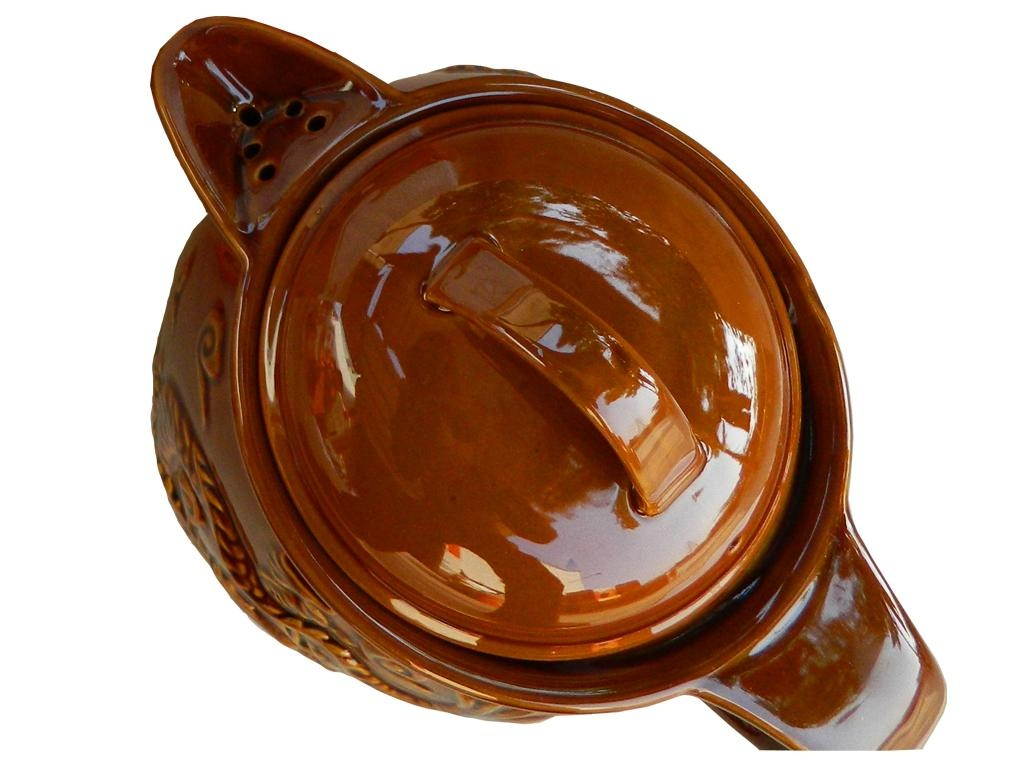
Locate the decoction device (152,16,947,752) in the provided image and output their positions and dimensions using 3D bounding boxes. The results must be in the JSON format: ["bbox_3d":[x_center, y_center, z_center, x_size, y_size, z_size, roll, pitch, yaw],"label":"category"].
[{"bbox_3d":[0.012,0.058,2.080,1.472,0.618,0.911,22,-61,-10],"label":"decoction device"}]
